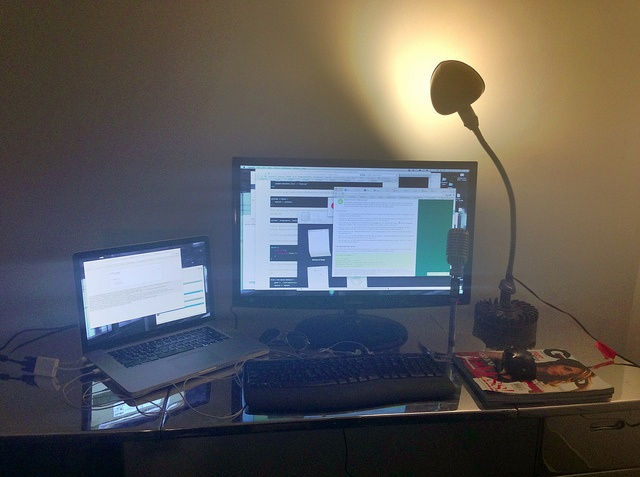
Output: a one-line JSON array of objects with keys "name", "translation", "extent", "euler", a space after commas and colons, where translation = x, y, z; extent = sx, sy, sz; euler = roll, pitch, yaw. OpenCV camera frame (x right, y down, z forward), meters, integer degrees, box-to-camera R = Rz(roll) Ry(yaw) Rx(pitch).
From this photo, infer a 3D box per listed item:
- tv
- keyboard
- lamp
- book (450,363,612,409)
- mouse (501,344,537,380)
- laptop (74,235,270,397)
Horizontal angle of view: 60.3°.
[{"name": "tv", "translation": [0.100, 0.038, 1.765], "extent": [0.679, 0.464, 0.250], "euler": [0, 6, -2]}, {"name": "keyboard", "translation": [0.077, 0.401, 1.539], "extent": [0.582, 0.109, 0.160], "euler": [-3, 4, -5]}, {"name": "lamp", "translation": [0.529, -0.113, 1.760], "extent": [0.208, 0.918, 0.268], "euler": [-6, 6, -28]}, {"name": "book", "translation": [0.601, 0.402, 1.578], "extent": [0.405, 0.101, 0.181], "euler": [-3, 4, -1]}, {"name": "mouse", "translation": [0.560, 0.356, 1.565], "extent": [0.096, 0.076, 0.066], "euler": [18, -10, -21]}, {"name": "laptop", "translation": [-0.471, 0.216, 1.706], "extent": [0.566, 0.387, 0.455], "euler": [-10, 19, -41]}]
